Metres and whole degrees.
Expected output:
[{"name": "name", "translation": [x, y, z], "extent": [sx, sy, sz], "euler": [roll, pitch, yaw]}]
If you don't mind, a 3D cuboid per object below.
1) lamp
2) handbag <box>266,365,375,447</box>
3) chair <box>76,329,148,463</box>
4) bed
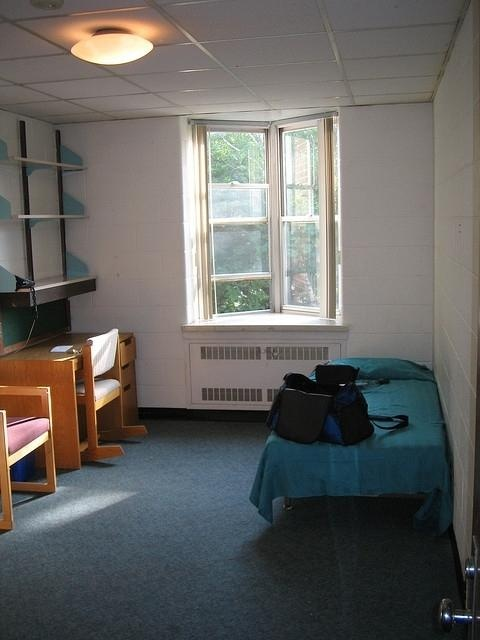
[{"name": "lamp", "translation": [-0.566, -1.210, 2.321], "extent": [0.340, 0.072, 0.248], "euler": [1, 6, 24]}, {"name": "handbag", "translation": [0.425, 0.435, 2.807], "extent": [0.551, 0.391, 0.381], "euler": [1, 5, 35]}, {"name": "chair", "translation": [-1.091, 0.562, 4.208], "extent": [0.584, 0.793, 1.257], "euler": [-3, 2, 2]}, {"name": "bed", "translation": [0.771, 0.775, 2.824], "extent": [1.320, 0.498, 0.810], "euler": [-7, 7, -43]}]
